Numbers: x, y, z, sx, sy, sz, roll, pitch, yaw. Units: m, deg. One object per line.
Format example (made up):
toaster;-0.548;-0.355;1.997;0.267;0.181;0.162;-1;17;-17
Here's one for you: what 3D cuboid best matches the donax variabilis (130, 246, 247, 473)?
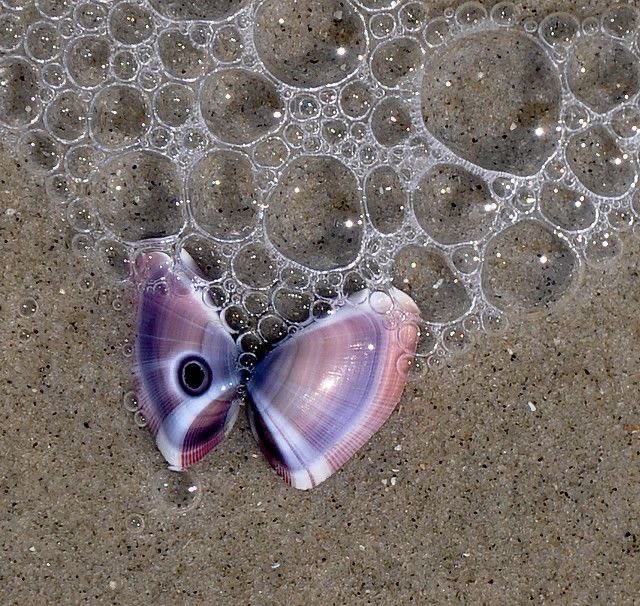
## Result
donax variabilis;-0.402;0.164;2.624;0.307;0.081;0.657;-3;85;-1
